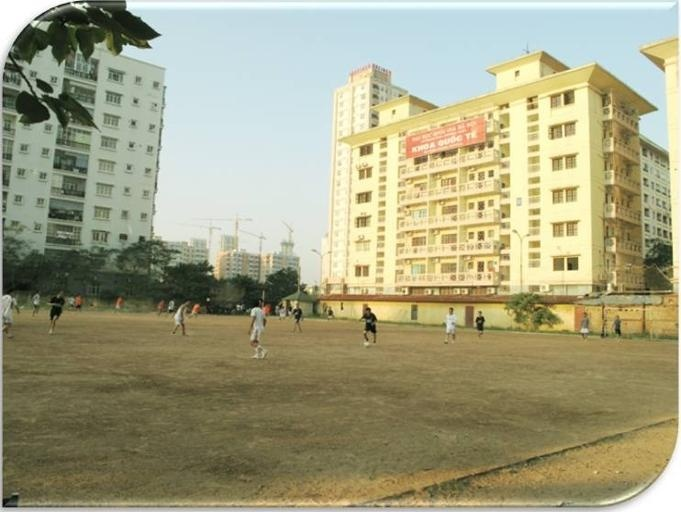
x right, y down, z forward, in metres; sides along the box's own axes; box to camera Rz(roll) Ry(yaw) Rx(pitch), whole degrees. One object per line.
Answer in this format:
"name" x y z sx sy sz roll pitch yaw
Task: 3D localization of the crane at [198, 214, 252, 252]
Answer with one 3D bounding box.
"crane" -20.856 -2.320 108.730 8.607 4.870 8.395 1 -3 -6
